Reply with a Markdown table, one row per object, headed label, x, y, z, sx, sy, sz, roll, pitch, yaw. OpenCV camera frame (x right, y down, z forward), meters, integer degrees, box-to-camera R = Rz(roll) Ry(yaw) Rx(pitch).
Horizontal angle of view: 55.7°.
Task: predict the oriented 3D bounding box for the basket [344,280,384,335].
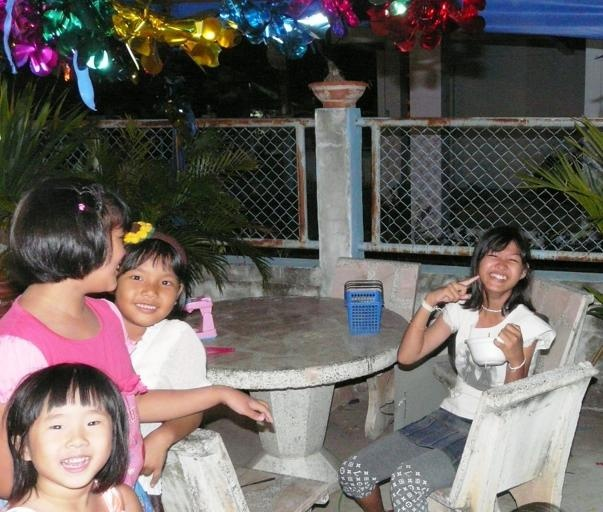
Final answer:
| label | x | y | z | sx | sy | sz | roll | pitch | yaw |
| --- | --- | --- | --- | --- | --- | --- | --- | --- | --- |
| basket | 0.337 | 0.286 | 3.120 | 0.264 | 0.310 | 0.185 | 0 | 11 | 4 |

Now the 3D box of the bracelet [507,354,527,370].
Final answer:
| label | x | y | z | sx | sy | sz | roll | pitch | yaw |
| --- | --- | --- | --- | --- | --- | --- | --- | --- | --- |
| bracelet | 0.926 | 0.450 | 2.458 | 0.064 | 0.042 | 0.084 | -9 | -1 | 13 |
